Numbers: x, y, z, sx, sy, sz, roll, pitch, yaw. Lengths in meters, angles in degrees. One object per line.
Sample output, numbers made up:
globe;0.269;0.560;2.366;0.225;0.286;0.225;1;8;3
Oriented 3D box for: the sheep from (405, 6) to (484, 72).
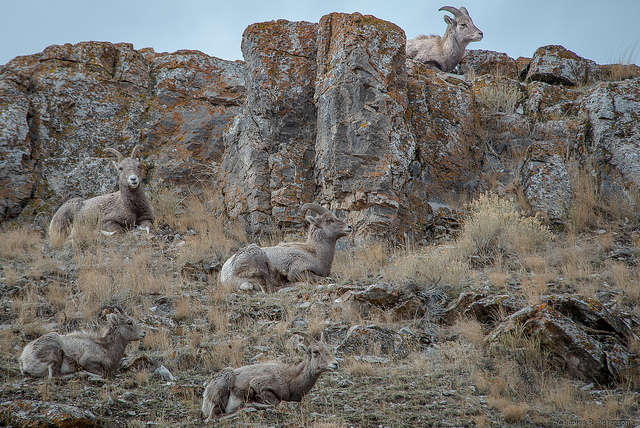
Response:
sheep;4.641;-6.658;38.172;1.140;2.503;3.397;15;-25;-29
